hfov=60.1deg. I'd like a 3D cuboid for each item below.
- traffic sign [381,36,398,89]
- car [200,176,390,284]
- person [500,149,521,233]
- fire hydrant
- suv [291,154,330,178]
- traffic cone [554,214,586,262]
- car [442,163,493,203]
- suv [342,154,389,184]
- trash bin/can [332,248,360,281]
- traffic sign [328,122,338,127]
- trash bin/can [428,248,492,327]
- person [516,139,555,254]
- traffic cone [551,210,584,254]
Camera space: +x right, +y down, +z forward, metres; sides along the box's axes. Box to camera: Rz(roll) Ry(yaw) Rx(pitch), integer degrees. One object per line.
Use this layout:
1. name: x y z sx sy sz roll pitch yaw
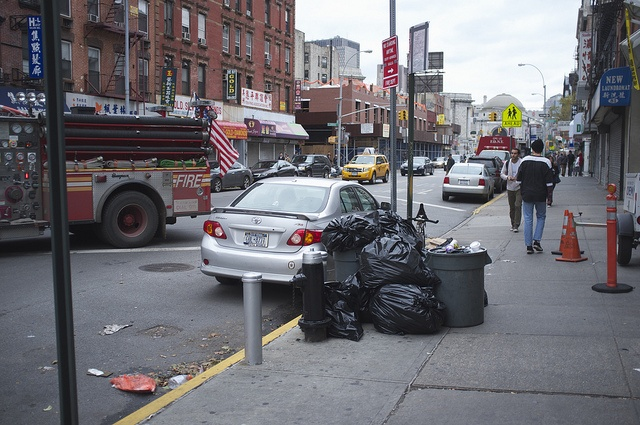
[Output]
1. traffic sign: 1.501 -3.291 11.881 0.313 1.120 0.931 0 8 6
2. car: -0.606 0.263 9.111 2.696 1.504 1.712 -3 9 -14
3. person: 5.496 -0.677 15.717 0.903 2.579 1.311 0 1 24
4. fire hydrant: -0.118 1.069 7.130 0.465 1.195 0.275 -2 8 -4
5. suv: -0.717 -3.571 41.872 1.671 1.478 3.696 2 3 33
6. traffic cone: 5.151 0.487 11.282 0.627 0.976 0.513 1 8 11
7. car: 6.873 -1.368 25.903 1.983 1.711 1.240 4 10 32
8. suv: 3.104 -2.997 37.449 1.655 1.867 4.390 1 2 24
9. trash bin/can: 0.363 0.750 7.933 0.418 0.470 0.418 0 -4 -17
10. traffic sign: 1.417 -9.881 61.364 1.472 0.380 1.415 0 3 -1
11. trash bin/can: 1.882 1.010 7.774 0.805 1.062 0.856 0 0 -39
12. person: 4.642 -0.323 12.279 0.786 2.555 1.093 -1 1 24
13. traffic cone: 5.192 0.424 11.790 0.616 0.959 0.686 -1 0 9
